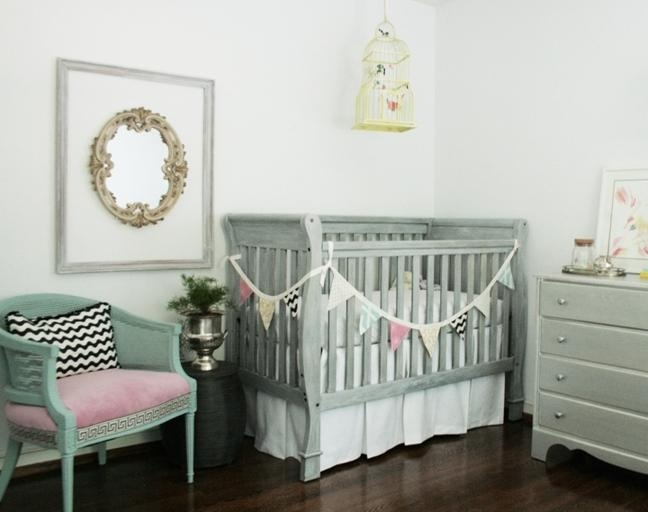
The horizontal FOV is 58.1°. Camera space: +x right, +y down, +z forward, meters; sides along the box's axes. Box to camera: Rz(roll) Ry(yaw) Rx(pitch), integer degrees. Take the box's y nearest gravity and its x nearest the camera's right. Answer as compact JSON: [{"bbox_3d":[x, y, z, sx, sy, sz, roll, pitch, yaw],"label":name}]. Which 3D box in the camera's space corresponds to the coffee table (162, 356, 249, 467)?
[{"bbox_3d":[-0.537,0.888,3.273,0.408,0.455,0.434,-7,-8,-15],"label":"coffee table"}]

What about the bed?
[{"bbox_3d":[0.350,0.438,3.738,1.735,1.364,1.051,-2,6,-32],"label":"bed"}]

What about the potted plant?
[{"bbox_3d":[-0.657,0.377,3.212,0.256,0.484,0.319,-1,-4,8],"label":"potted plant"}]

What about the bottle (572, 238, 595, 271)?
[{"bbox_3d":[1.439,-0.008,3.235,0.136,0.214,0.145,1,-2,0],"label":"bottle"}]
